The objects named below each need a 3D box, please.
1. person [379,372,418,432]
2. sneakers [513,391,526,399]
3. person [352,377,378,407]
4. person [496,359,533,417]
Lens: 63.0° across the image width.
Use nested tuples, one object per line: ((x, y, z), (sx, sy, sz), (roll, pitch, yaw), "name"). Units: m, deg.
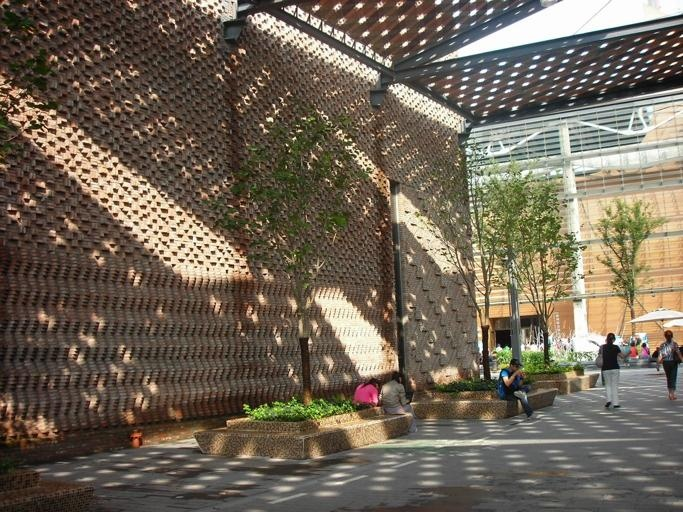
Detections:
((1.130, 2.856, 10.873), (0.672, 1.146, 0.927), (-3, -11, -7), "person")
((4.045, 3.124, 12.485), (0.231, 0.196, 0.414), (-4, -12, -5), "sneakers")
((0.481, 2.693, 10.923), (0.444, 0.539, 1.028), (-6, -11, 4), "person")
((3.928, 3.016, 12.745), (0.674, 1.255, 1.118), (-8, -11, 15), "person")
